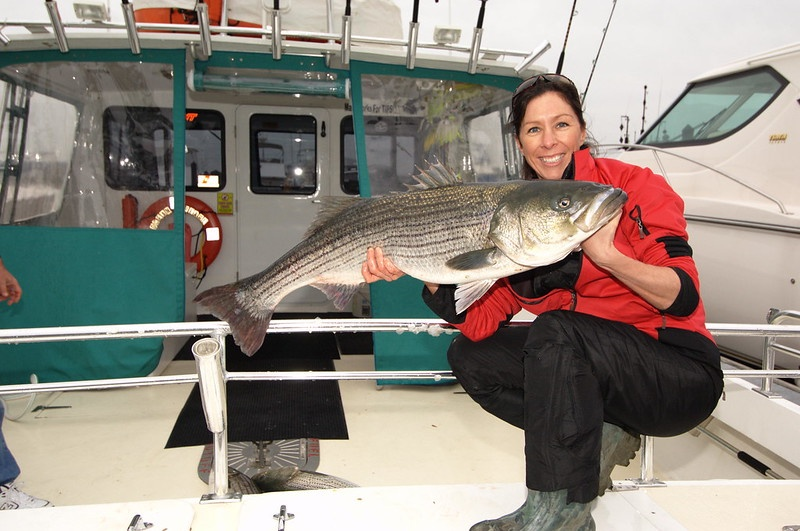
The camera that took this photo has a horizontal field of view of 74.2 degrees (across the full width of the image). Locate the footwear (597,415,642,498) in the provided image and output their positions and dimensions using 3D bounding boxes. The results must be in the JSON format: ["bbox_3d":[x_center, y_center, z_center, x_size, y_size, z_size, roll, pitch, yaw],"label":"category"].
[{"bbox_3d":[1.383,1.190,3.393,0.136,0.465,0.467,16,57,28],"label":"footwear"}]

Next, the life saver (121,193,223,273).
[{"bbox_3d":[-2.931,-0.428,7.373,1.030,1.059,0.277,-8,-2,-2],"label":"life saver"}]

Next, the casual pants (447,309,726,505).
[{"bbox_3d":[1.205,0.725,3.444,1.410,0.710,1.084,-5,-1,-11],"label":"casual pants"}]

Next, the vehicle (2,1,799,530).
[{"bbox_3d":[-0.222,0.090,4.734,4.434,3.037,2.319,-2,37,-14],"label":"vehicle"}]
